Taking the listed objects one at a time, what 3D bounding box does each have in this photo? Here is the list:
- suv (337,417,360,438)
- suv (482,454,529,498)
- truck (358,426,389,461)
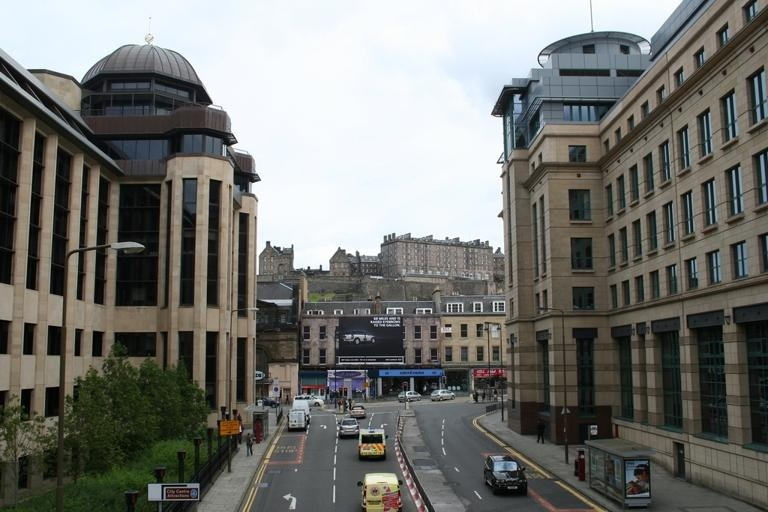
[{"bbox_3d":[-3.499,17.086,80.901,1.773,1.960,2.116,7,-16,-30],"label":"suv"},{"bbox_3d":[8.917,16.321,60.577,2.792,2.421,3.686,0,1,0],"label":"suv"},{"bbox_3d":[-0.969,16.320,70.362,2.283,1.873,3.516,0,-5,-1],"label":"truck"}]
